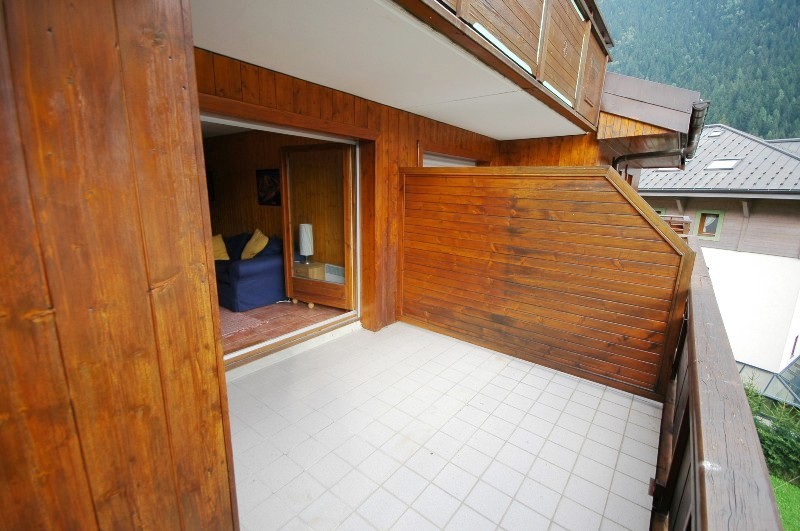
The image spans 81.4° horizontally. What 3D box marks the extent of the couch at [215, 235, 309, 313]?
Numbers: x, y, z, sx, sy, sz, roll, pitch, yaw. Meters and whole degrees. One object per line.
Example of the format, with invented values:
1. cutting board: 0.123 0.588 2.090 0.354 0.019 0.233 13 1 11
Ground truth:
1. couch: -1.931 -0.275 6.167 0.901 1.167 1.536 -10 17 -36
